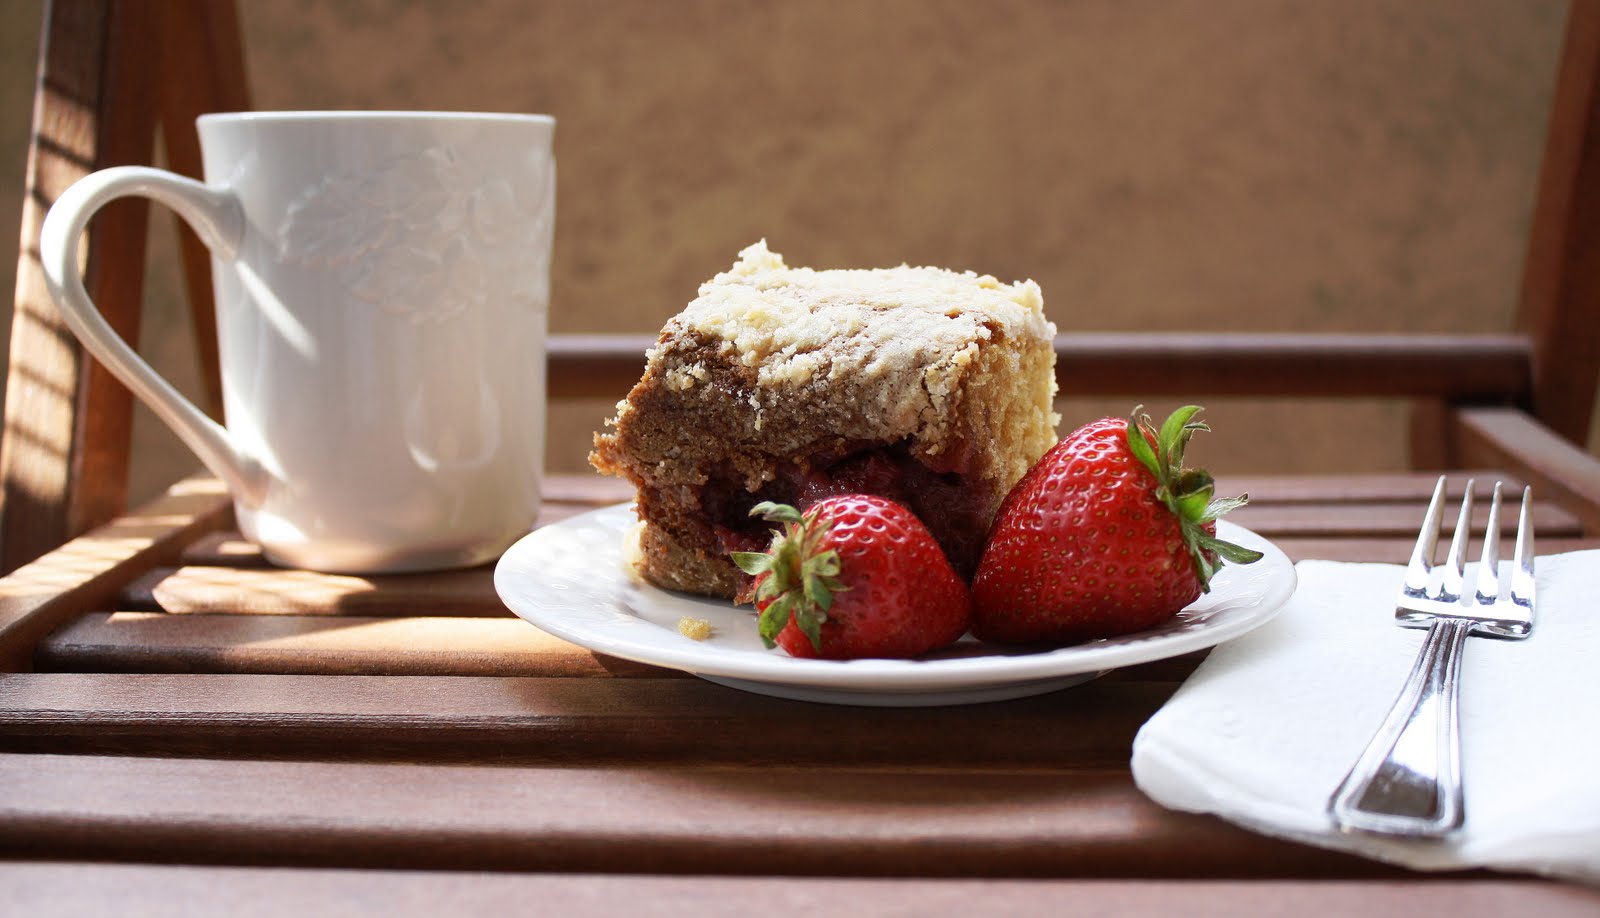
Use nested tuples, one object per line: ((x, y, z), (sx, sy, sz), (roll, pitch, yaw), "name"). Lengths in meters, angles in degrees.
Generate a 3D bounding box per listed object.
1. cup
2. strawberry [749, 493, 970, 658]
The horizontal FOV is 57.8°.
((-0.481, -0.108, 1.390), (0.472, 0.431, 0.304), (-3, 4, -39), "cup")
((0.046, 0.098, 1.141), (0.156, 0.128, 0.141), (1, -11, 11), "strawberry")
